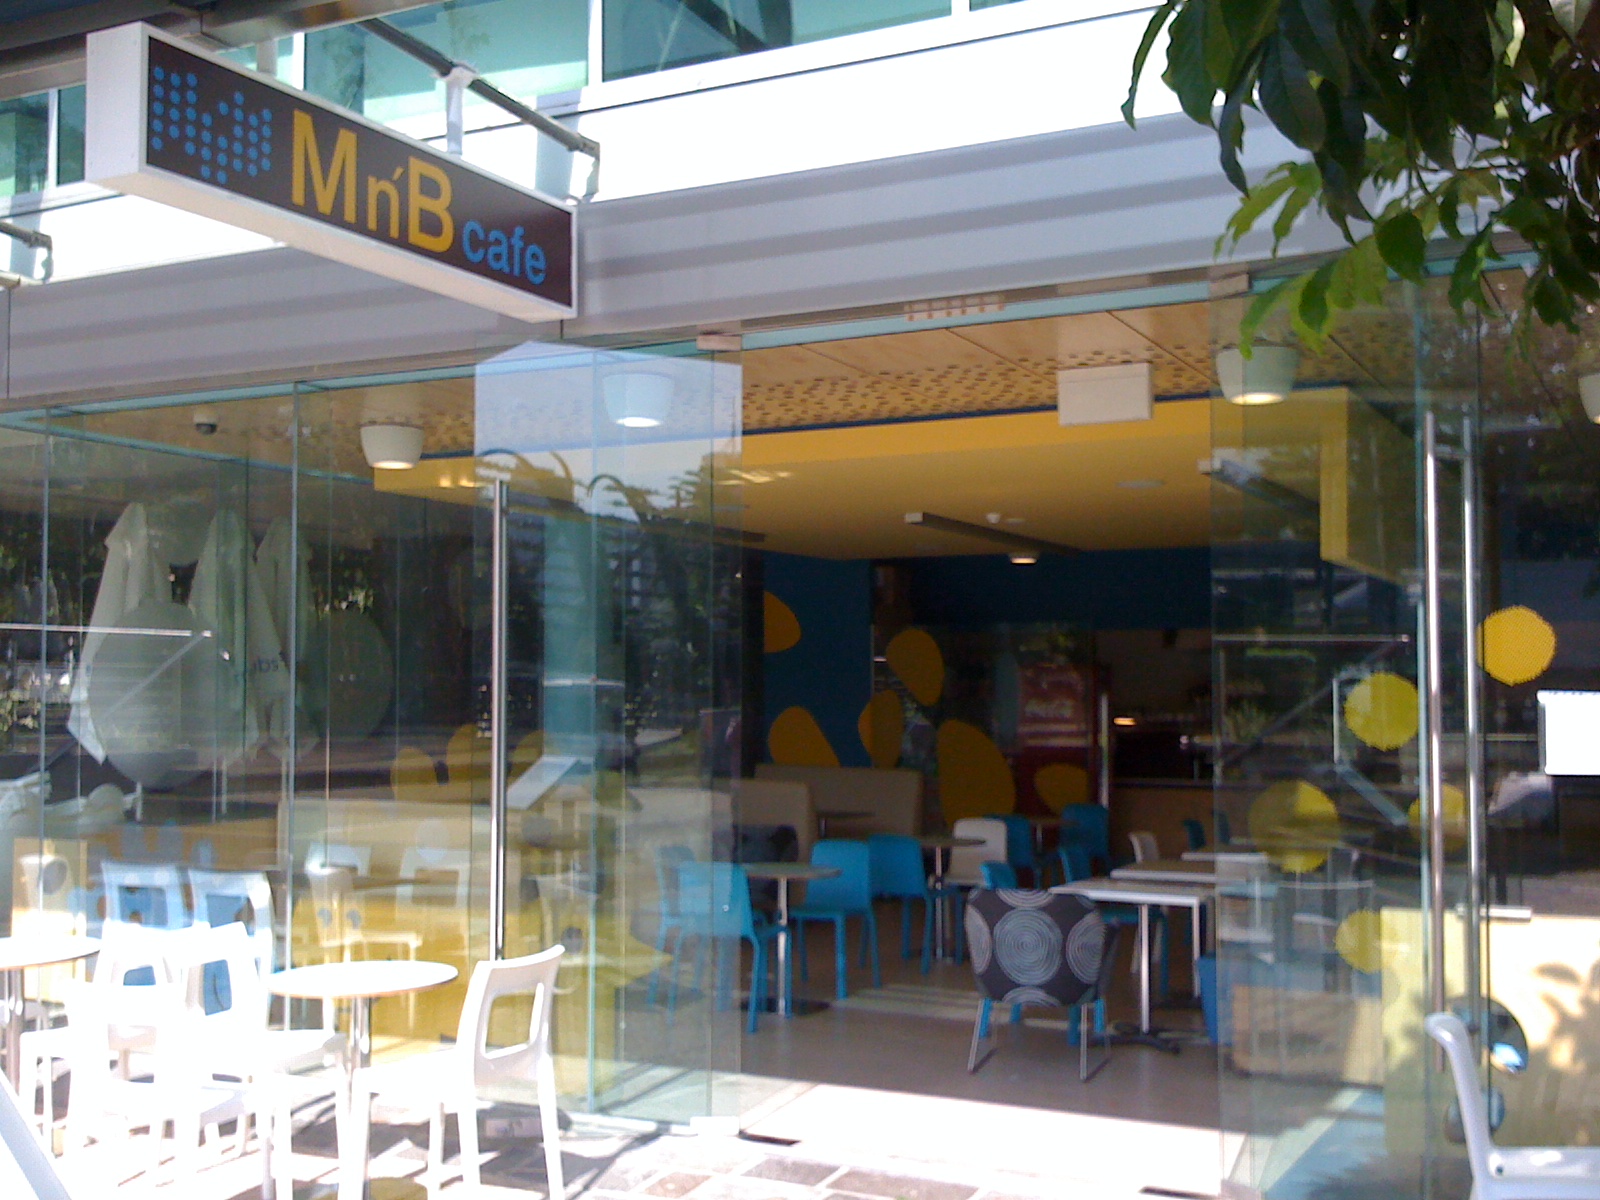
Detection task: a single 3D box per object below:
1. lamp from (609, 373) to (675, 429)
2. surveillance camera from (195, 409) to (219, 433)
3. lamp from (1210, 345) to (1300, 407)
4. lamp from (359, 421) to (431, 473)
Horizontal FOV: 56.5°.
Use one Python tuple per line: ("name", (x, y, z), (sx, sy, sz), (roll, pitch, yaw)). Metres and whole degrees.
("lamp", (-0.639, -0.818, 6.123), (0.238, 0.154, 0.212), (-2, -7, 10))
("surveillance camera", (-2.763, -0.829, 6.946), (0.176, 0.112, 0.044), (6, 5, 32))
("lamp", (1.565, -0.783, 5.118), (0.272, 0.223, 0.218), (5, 5, 22))
("lamp", (-1.790, -0.678, 6.556), (0.328, 0.218, 0.070), (6, 5, 31))
